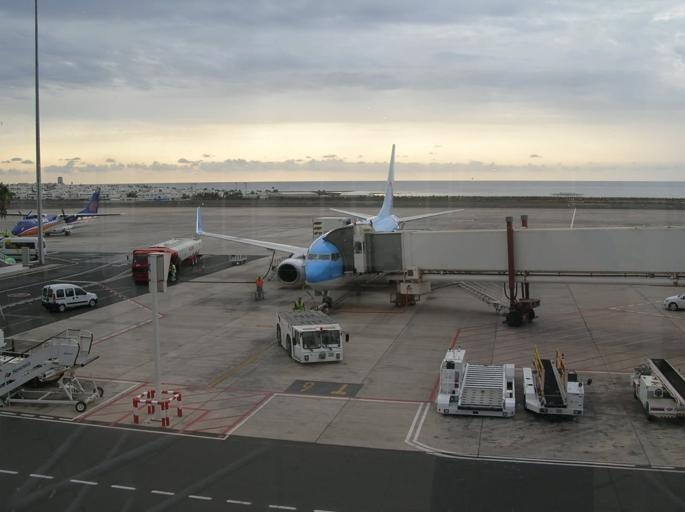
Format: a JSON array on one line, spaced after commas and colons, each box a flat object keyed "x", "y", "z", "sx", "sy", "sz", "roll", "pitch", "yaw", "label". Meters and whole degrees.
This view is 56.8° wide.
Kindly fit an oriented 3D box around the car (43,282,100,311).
[{"x": -22.569, "y": 3.410, "z": 52.968, "sx": 3.793, "sy": 1.509, "sz": 2.281, "roll": -8, "pitch": 13, "yaw": -42, "label": "car"}]

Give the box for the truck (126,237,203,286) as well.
[{"x": -19.194, "y": 0.176, "z": 70.739, "sx": 4.434, "sy": 2.893, "sz": 11.336, "roll": 1, "pitch": 11, "yaw": 6, "label": "truck"}]

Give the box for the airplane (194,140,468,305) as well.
[{"x": 1.646, "y": -3.911, "z": 62.232, "sx": 35.223, "sy": 10.810, "sz": 29.856, "roll": 0, "pitch": 7, "yaw": 13, "label": "airplane"}]

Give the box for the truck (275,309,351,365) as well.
[{"x": -2.272, "y": 5.039, "z": 41.087, "sx": 3.358, "sy": 1.711, "sz": 6.422, "roll": -2, "pitch": 6, "yaw": -17, "label": "truck"}]
